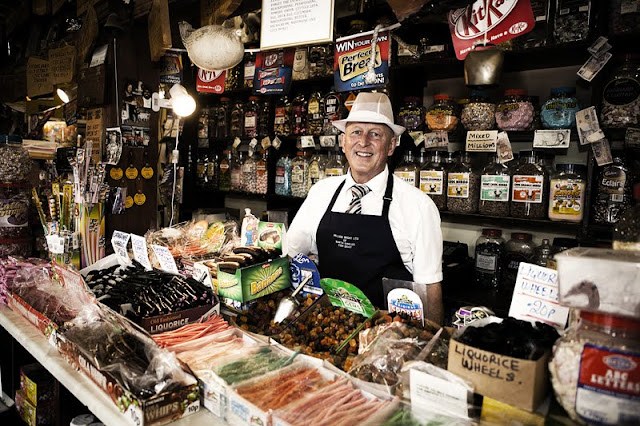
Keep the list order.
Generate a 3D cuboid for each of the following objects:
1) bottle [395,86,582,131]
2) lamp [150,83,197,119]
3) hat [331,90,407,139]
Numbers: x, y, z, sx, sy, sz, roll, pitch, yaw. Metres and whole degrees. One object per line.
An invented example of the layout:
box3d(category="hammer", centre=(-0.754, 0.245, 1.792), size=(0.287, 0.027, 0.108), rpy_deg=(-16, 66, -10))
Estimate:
box3d(category="bottle", centre=(1.372, -0.702, 3.040), size=(1.169, 0.336, 0.395), rpy_deg=(7, 12, 32))
box3d(category="lamp", centre=(-1.411, -1.049, 4.122), size=(0.288, 0.383, 1.181), rpy_deg=(-3, 5, -24))
box3d(category="hat", centre=(0.322, -0.664, 2.931), size=(0.471, 0.291, 0.317), rpy_deg=(0, 5, 7))
